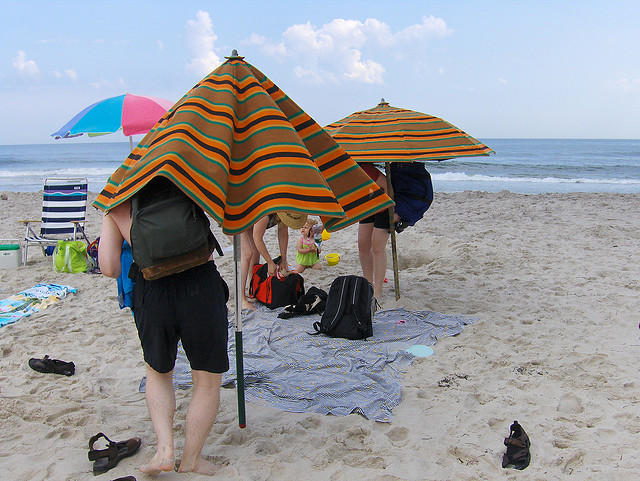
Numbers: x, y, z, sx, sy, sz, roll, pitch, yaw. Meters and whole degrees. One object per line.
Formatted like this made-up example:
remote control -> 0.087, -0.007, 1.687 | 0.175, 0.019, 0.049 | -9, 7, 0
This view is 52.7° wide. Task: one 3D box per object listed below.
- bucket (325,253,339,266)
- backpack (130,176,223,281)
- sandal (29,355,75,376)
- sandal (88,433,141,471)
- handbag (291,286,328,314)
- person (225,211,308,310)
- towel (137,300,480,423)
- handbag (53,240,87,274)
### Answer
bucket -> 0.179, 0.277, 9.413 | 0.147, 0.107, 0.147 | -1, 3, 0
backpack -> -1.084, -0.108, 4.780 | 0.547, 0.631, 0.349 | -27, 10, -12
sandal -> -2.699, 1.258, 6.455 | 0.369, 0.115, 0.197 | 9, 24, -2
sandal -> -1.707, 1.731, 5.371 | 0.423, 0.244, 0.210 | -7, 7, -22
handbag -> -0.131, 0.723, 7.779 | 0.336, 0.145, 0.249 | -7, 14, -24
person -> -0.595, 0.282, 7.306 | 1.003, 1.365, 0.543 | 6, 24, 7
towel -> 0.099, 1.202, 6.735 | 1.578, 0.102, 1.718 | 5, 18, 25
handbag -> -3.630, 0.239, 9.386 | 0.500, 0.479, 0.453 | 1, -3, -25
